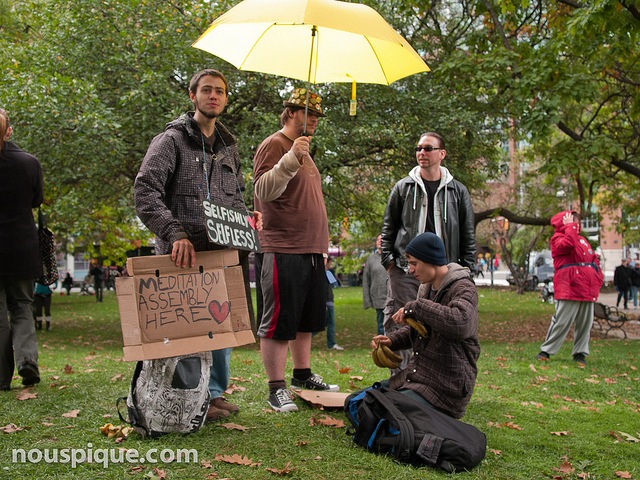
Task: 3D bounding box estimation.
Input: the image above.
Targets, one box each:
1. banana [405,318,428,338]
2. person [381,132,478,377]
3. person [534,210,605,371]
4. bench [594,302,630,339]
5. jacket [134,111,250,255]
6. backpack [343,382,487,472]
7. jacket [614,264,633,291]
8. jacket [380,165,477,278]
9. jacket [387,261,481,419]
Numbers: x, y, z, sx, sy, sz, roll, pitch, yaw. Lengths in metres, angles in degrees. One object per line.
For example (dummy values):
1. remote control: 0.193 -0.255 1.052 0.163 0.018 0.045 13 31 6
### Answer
1. banana: 1.047 0.951 7.486 0.072 0.264 0.056 -37 -15 -14
2. person: 1.328 0.338 8.659 1.158 3.384 0.747 0 6 -6
3. person: 4.357 0.809 11.995 1.013 1.882 0.774 1 -1 16
4. bench: 7.151 2.034 16.729 0.564 0.773 1.585 0 -7 22
5. jacket: -1.431 -0.657 7.906 0.865 1.531 1.638 5 2 28
6. backpack: 1.011 1.960 7.229 1.071 0.504 0.818 20 9 29
7. jacket: 11.504 1.432 26.148 0.866 0.993 0.555 3 -30 7
8. jacket: 1.373 -0.289 8.683 1.168 1.287 0.717 5 8 8
9. jacket: 1.240 1.168 7.675 1.025 1.810 1.277 8 -10 -30
